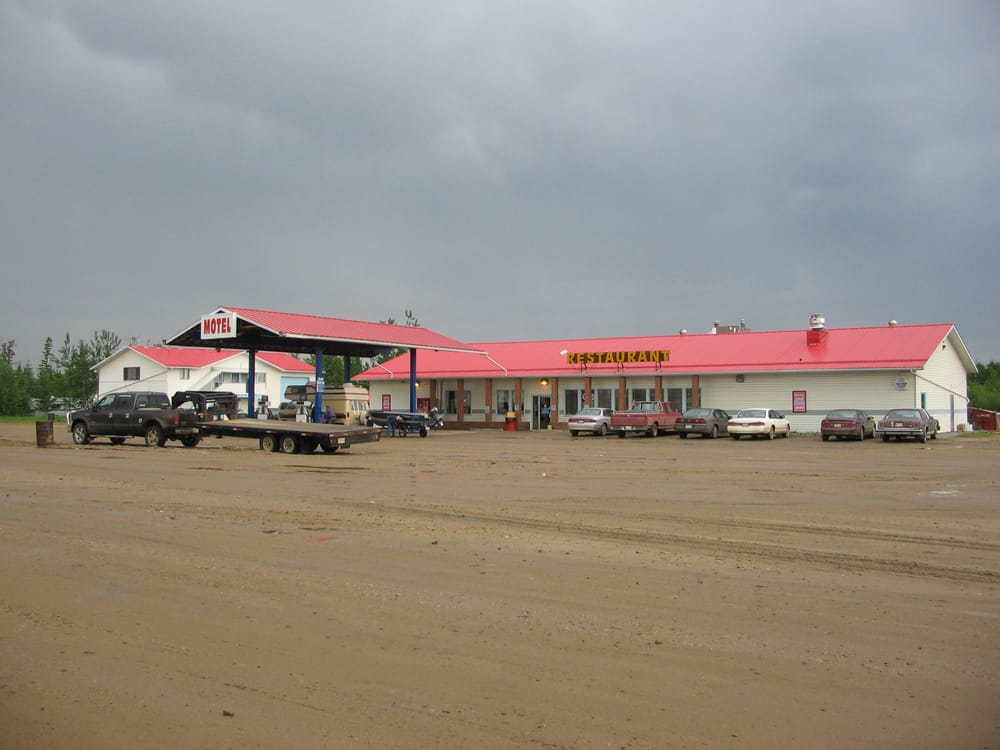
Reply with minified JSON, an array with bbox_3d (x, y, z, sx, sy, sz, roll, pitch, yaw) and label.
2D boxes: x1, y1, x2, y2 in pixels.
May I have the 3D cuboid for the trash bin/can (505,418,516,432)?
[{"bbox_3d":[0.591,2.761,54.002,0.554,0.637,0.567,1,-3,-11],"label":"trash bin/can"}]

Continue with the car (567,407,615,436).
[{"bbox_3d":[4.267,2.313,46.681,1.779,1.243,2.232,1,5,10],"label":"car"}]

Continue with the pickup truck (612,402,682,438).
[{"bbox_3d":[6.495,2.055,44.589,1.544,1.109,2.946,0,0,35],"label":"pickup truck"}]

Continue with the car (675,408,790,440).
[{"bbox_3d":[10.291,2.176,43.357,4.236,1.417,3.692,3,6,32],"label":"car"}]

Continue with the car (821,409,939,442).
[{"bbox_3d":[14.966,2.032,39.350,4.075,1.410,3.925,2,5,20],"label":"car"}]

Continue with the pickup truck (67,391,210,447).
[{"bbox_3d":[-12.067,1.505,33.359,4.308,1.624,2.024,2,-2,23],"label":"pickup truck"}]
